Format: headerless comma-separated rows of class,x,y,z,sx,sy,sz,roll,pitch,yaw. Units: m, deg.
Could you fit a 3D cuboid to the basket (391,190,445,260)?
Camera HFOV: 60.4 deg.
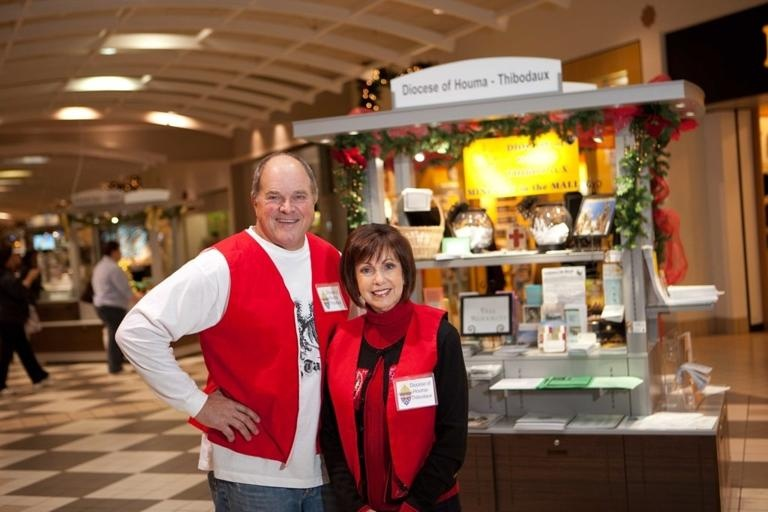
basket,0.323,-0.237,5.253,0.481,0.642,0.524,-1,7,14

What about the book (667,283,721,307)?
book,2.381,0.309,5.077,0.305,0.088,0.217,1,-2,-4
